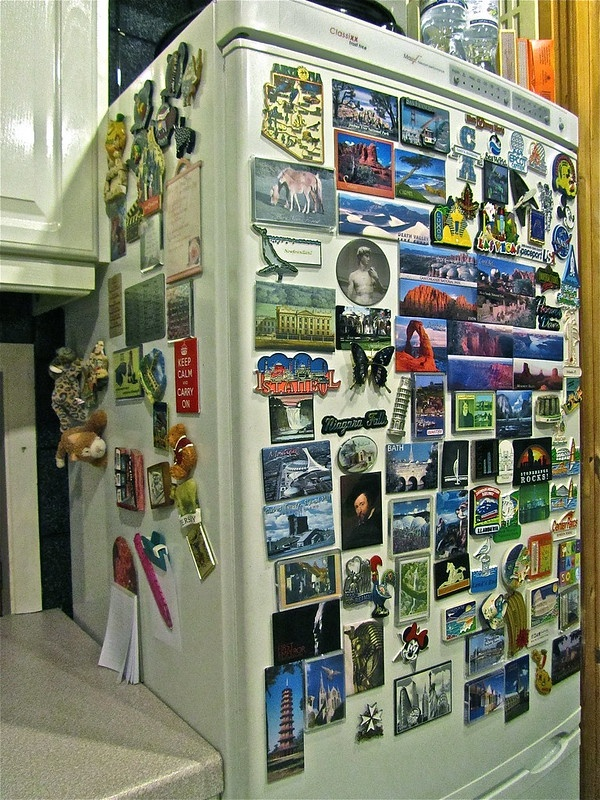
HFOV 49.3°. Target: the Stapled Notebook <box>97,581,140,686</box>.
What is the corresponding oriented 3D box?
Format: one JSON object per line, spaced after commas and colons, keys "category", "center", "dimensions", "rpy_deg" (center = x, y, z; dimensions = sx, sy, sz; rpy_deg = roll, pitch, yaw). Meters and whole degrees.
{"category": "Stapled Notebook", "center": [-0.326, 0.426, 1.196], "dimensions": [0.027, 0.145, 0.115], "rpy_deg": [6, -5, -42]}
